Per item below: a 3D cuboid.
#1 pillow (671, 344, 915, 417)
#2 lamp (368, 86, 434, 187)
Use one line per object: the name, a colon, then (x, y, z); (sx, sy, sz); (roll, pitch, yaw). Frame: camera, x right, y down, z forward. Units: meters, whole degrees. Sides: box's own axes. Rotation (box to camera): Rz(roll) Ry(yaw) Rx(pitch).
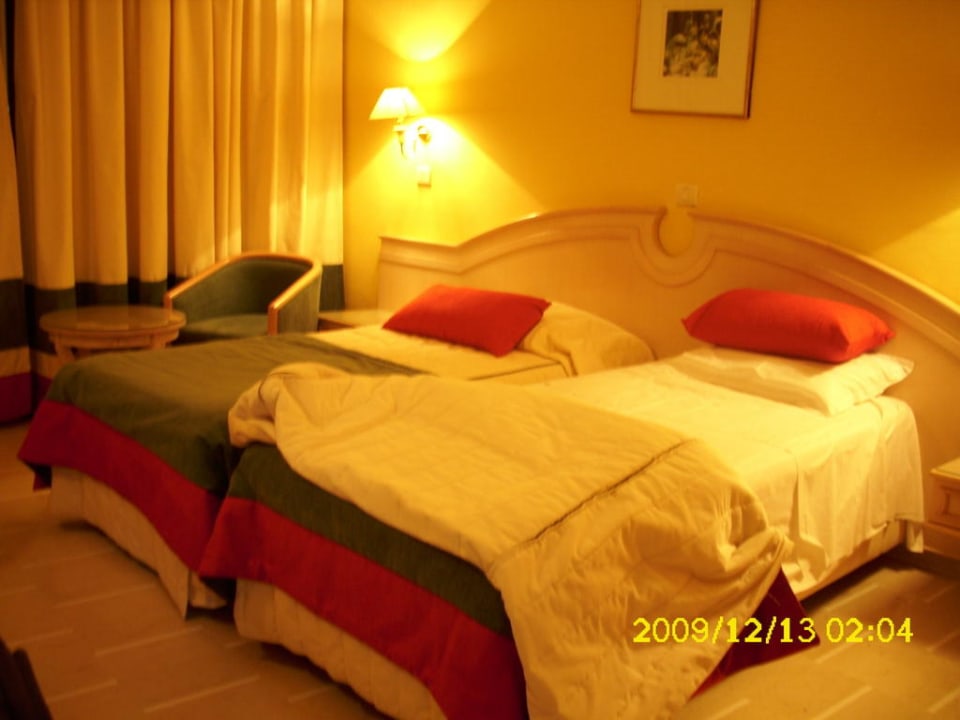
pillow: (1.277, 0.055, 3.312); (0.398, 0.126, 0.622); (-17, 22, -42)
lamp: (-0.509, -1.444, 4.967); (0.353, 0.609, 0.268); (17, 19, 39)
